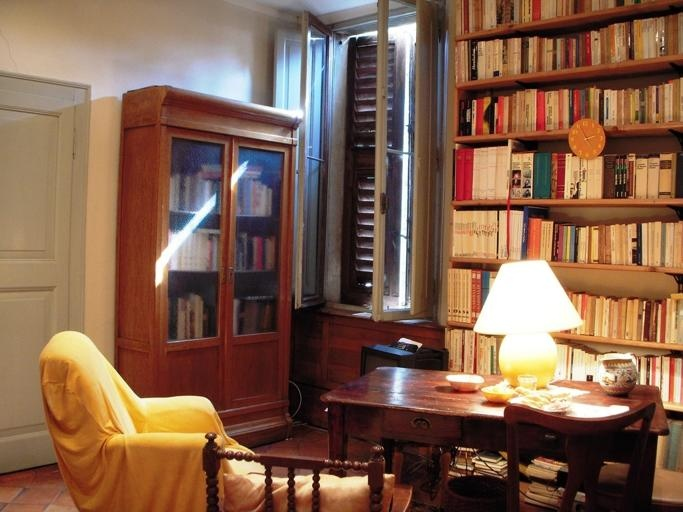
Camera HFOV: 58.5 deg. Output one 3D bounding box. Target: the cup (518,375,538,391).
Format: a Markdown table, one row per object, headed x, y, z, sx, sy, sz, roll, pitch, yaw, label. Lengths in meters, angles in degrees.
| x | y | z | sx | sy | sz | roll | pitch | yaw | label |
| --- | --- | --- | --- | --- | --- | --- | --- | --- | --- |
| 0.871 | 0.589 | 2.841 | 0.062 | 0.072 | 0.070 | 1 | 7 | -16 | cup |

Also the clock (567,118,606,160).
| x | y | z | sx | sy | sz | roll | pitch | yaw | label |
| --- | --- | --- | --- | --- | --- | --- | --- | --- | --- |
| 1.453 | -0.696 | 3.582 | 0.234 | 0.286 | 0.037 | 3 | -2 | 31 | clock |

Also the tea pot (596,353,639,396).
| x | y | z | sx | sy | sz | roll | pitch | yaw | label |
| --- | --- | --- | --- | --- | --- | --- | --- | --- | --- |
| 1.354 | 0.571 | 2.949 | 0.226 | 0.201 | 0.178 | 0 | -2 | -20 | tea pot |

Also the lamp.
| x | y | z | sx | sy | sz | roll | pitch | yaw | label |
| --- | --- | --- | --- | --- | --- | --- | --- | --- | --- |
| 0.870 | 0.298 | 3.149 | 0.552 | 0.674 | 0.563 | -3 | 4 | -8 | lamp |
